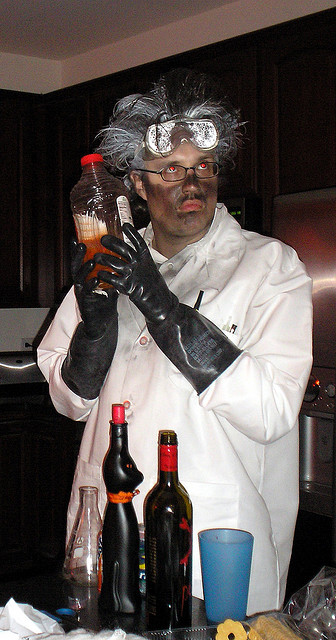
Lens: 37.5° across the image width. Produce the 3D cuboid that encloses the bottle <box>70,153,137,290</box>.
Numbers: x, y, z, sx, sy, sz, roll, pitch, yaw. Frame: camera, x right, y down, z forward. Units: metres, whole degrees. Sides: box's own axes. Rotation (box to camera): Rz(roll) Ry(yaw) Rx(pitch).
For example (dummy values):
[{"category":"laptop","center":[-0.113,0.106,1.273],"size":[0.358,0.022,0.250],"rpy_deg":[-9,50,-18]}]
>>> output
[{"category":"bottle","center":[-0.096,-0.144,0.737],"size":[0.085,0.212,0.090],"rpy_deg":[-11,-13,-2]}]

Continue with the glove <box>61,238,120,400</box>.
[{"category":"glove","center":[-0.121,0.011,0.797],"size":[0.093,0.093,0.325],"rpy_deg":[-31,-28,-33]}]

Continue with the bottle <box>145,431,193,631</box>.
[{"category":"bottle","center":[0.001,0.233,0.511],"size":[0.047,0.159,0.036],"rpy_deg":[0,-2,-3]}]

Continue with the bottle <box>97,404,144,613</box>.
[{"category":"bottle","center":[-0.049,0.203,0.540],"size":[0.049,0.222,0.055],"rpy_deg":[-4,7,-33]}]

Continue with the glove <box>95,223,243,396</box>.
[{"category":"glove","center":[0.000,-0.020,0.699],"size":[0.098,0.082,0.248],"rpy_deg":[-35,-56,12]}]

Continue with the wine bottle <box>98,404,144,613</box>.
[{"category":"wine bottle","center":[-0.052,0.204,0.543],"size":[0.046,0.221,0.048],"rpy_deg":[0,-2,0]}]

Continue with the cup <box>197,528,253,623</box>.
[{"category":"cup","center":[0.058,0.261,0.507],"size":[0.049,0.086,0.056],"rpy_deg":[2,-8,-9]}]

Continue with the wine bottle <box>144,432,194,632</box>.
[{"category":"wine bottle","center":[0.002,0.210,0.516],"size":[0.046,0.208,0.044],"rpy_deg":[0,7,0]}]
